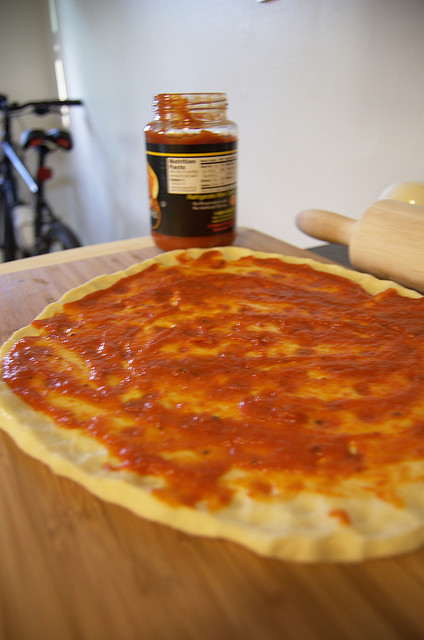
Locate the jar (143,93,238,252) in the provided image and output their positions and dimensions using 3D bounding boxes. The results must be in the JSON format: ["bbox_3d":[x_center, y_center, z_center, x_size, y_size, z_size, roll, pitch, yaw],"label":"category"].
[{"bbox_3d":[-0.031,-0.227,0.849,0.142,0.241,0.070,-1,20,-4],"label":"jar"}]

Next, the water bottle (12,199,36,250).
[{"bbox_3d":[-0.885,-0.443,2.541,0.099,0.211,0.117,3,20,9],"label":"water bottle"}]
